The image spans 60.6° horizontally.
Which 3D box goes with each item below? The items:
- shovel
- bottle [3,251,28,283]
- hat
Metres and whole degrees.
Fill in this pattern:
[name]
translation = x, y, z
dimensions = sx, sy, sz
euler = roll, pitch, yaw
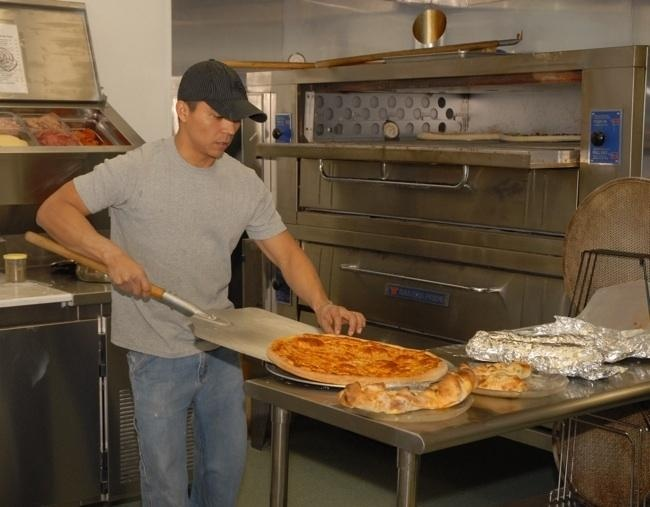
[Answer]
[shovel]
translation = -0.520, 0.186, 1.710
dimensions = 1.193, 0.054, 0.329
euler = 25, 2, 36
[bottle]
translation = -1.342, 0.064, 2.483
dimensions = 0.126, 0.131, 0.124
euler = 0, 3, -7
[hat]
translation = -0.325, -0.509, 1.729
dimensions = 0.300, 0.161, 0.204
euler = 18, 18, 30
